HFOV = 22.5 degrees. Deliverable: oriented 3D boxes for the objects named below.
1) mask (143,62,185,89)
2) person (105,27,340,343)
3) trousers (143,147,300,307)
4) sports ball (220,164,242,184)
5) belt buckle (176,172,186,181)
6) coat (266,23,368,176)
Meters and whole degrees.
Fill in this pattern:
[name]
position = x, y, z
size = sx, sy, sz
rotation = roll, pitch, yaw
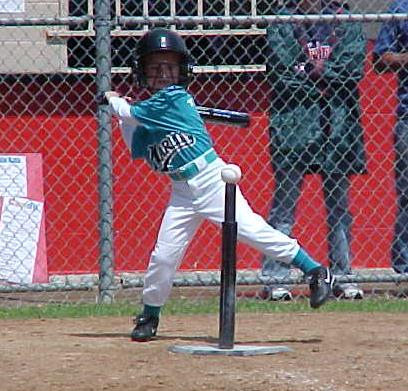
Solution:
[mask]
position = -0.219, -0.726, 6.023
size = 0.297, 0.153, 0.374
rotation = -1, 8, -4
[person]
position = -0.008, -0.052, 5.853
size = 1.080, 1.792, 0.582
rotation = 0, -3, 21
[trousers]
position = 0.091, 0.188, 5.798
size = 0.840, 0.915, 0.351
rotation = 2, -3, -5
[sports ball]
position = 0.146, -0.113, 5.461
size = 0.105, 0.106, 0.145
rotation = 2, -3, 1
[belt buckle]
position = -0.125, -0.108, 5.780
size = 0.046, 0.034, 0.045
rotation = 2, 13, -6
[coat]
position = 0.836, -0.752, 7.674
size = 0.690, 1.227, 0.645
rotation = -2, 14, -1
